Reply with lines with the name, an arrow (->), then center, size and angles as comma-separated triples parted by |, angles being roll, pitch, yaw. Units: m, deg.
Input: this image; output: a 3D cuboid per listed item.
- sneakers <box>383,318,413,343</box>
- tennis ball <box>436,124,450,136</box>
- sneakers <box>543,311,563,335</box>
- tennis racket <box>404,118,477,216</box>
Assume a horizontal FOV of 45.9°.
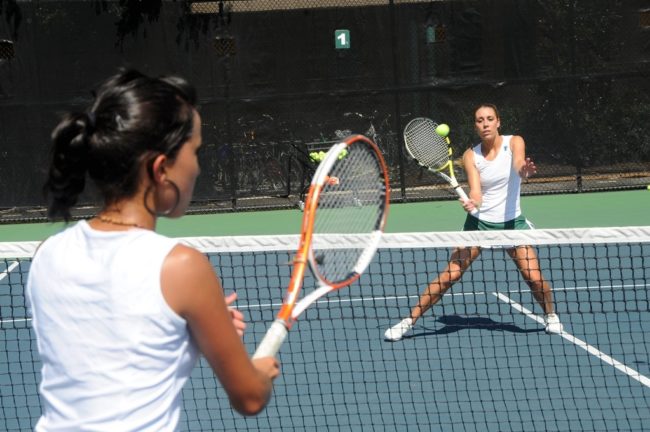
sneakers -> 0.721, 1.086, 7.465 | 0.287, 0.176, 0.116 | -33, -6, 11
tennis ball -> 1.309, -0.937, 8.451 | 0.131, 0.149, 0.156 | 10, 15, 35
sneakers -> 2.189, 1.030, 7.374 | 0.088, 0.279, 0.111 | -8, 9, 8
tennis racket -> 1.312, -0.434, 8.189 | 0.473, 0.126, 1.678 | -12, 48, -15
